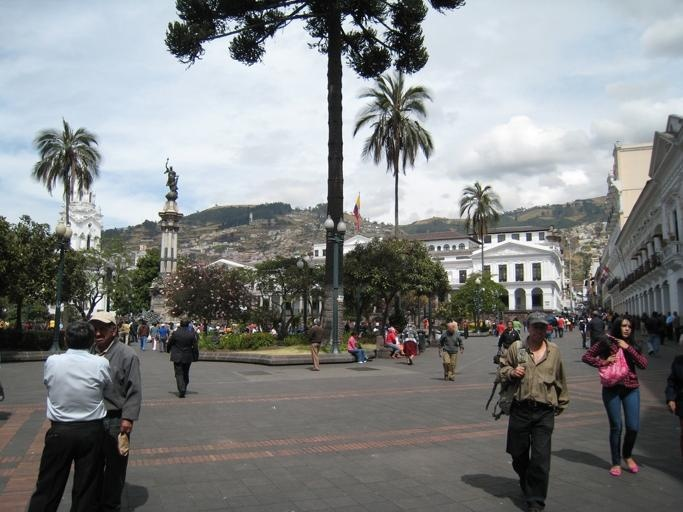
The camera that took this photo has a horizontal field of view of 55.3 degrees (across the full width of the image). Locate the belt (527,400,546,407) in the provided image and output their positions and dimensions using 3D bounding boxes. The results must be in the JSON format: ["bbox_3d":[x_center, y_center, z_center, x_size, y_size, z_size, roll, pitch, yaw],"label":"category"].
[{"bbox_3d":[2.678,2.008,8.896,0.244,0.078,0.060,-3,-6,14],"label":"belt"}]

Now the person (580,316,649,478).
[{"bbox_3d":[4.510,2.184,10.549,0.833,2.391,1.288,-4,-6,24],"label":"person"}]

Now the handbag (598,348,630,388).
[{"bbox_3d":[4.294,1.744,10.180,0.488,0.679,0.346,12,0,35],"label":"handbag"}]

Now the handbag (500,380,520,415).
[{"bbox_3d":[2.340,1.959,9.065,0.320,0.420,0.441,-1,-9,5],"label":"handbag"}]

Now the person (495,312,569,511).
[{"bbox_3d":[2.652,2.097,8.988,0.921,2.637,0.614,-2,-6,13],"label":"person"}]
